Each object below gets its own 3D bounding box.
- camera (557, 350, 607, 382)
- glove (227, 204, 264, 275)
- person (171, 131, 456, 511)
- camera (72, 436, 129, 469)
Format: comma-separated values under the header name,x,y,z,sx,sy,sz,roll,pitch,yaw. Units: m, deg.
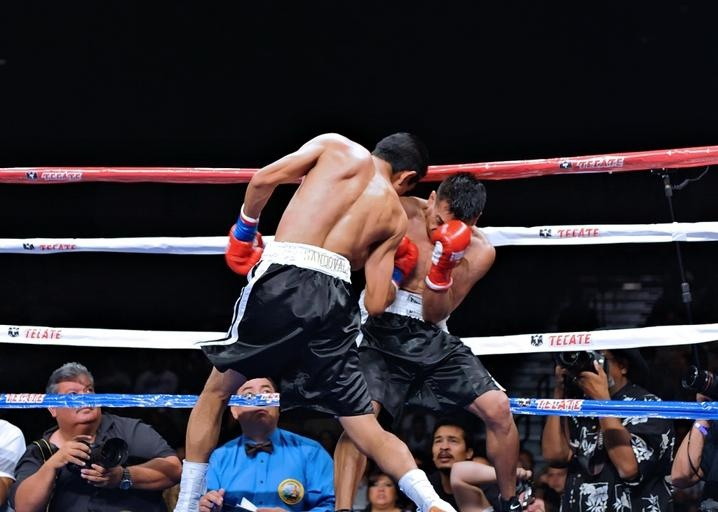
name,x,y,z,sx,sy,sz,roll,pitch,yaw
camera,1.708,0.807,6.605,0.239,0.163,0.309,14,-5,-32
glove,-0.782,-0.104,5.991,0.168,0.407,0.319,12,20,15
person,-0.292,0.458,5.814,1.574,2.415,0.415,6,-1,1
camera,-1.911,1.470,6.450,0.343,0.239,0.175,5,-1,-9
